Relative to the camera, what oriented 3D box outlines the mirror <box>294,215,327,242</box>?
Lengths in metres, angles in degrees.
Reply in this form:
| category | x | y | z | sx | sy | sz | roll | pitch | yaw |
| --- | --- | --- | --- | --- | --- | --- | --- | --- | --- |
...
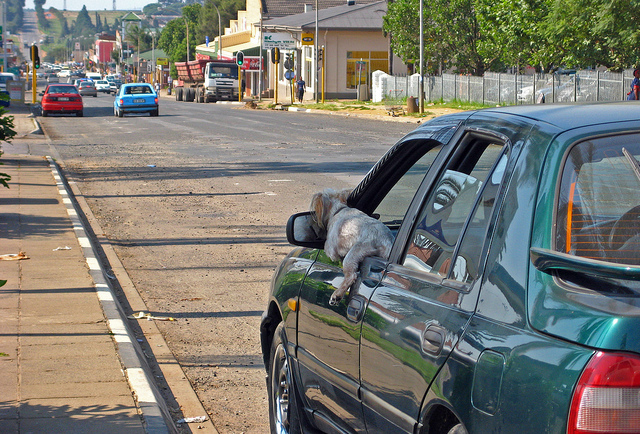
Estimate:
| category | x | y | z | sx | sy | sz | roll | pitch | yaw |
| --- | --- | --- | --- | --- | --- | --- | --- | --- | --- |
| mirror | -0.026 | 0.086 | 5.321 | 0.243 | 0.154 | 0.167 | 5 | 11 | 30 |
